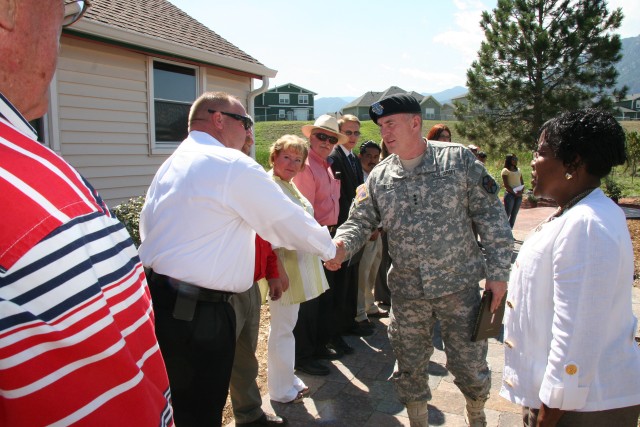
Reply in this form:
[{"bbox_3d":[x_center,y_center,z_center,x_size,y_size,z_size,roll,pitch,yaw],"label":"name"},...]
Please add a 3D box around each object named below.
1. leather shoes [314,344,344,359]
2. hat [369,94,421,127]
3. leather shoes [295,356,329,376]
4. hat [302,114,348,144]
[{"bbox_3d":[0.094,1.362,4.674,0.264,0.163,0.106,-6,12,-5],"label":"leather shoes"},{"bbox_3d":[0.541,-0.749,3.327,0.308,0.119,0.222,-1,-1,-37],"label":"hat"},{"bbox_3d":[-0.072,1.433,4.375,0.315,0.124,0.129,-1,-1,16],"label":"leather shoes"},{"bbox_3d":[0.053,-0.943,5.077,0.363,0.160,0.401,27,-3,-5],"label":"hat"}]
